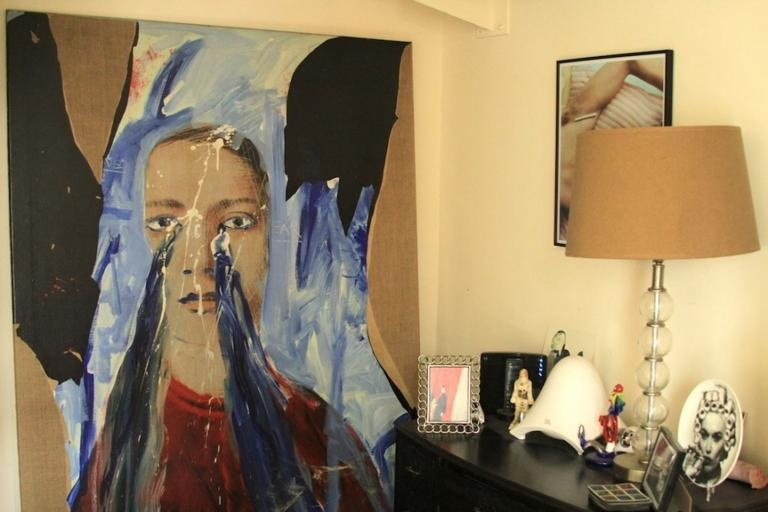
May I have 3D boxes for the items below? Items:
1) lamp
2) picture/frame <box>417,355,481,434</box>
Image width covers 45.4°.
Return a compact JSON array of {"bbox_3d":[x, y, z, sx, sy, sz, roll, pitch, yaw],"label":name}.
[{"bbox_3d":[1.156,0.210,3.900,0.786,1.321,0.287,4,2,11],"label":"lamp"},{"bbox_3d":[0.311,0.683,4.420,0.338,0.409,0.046,1,-14,-5],"label":"picture/frame"}]
